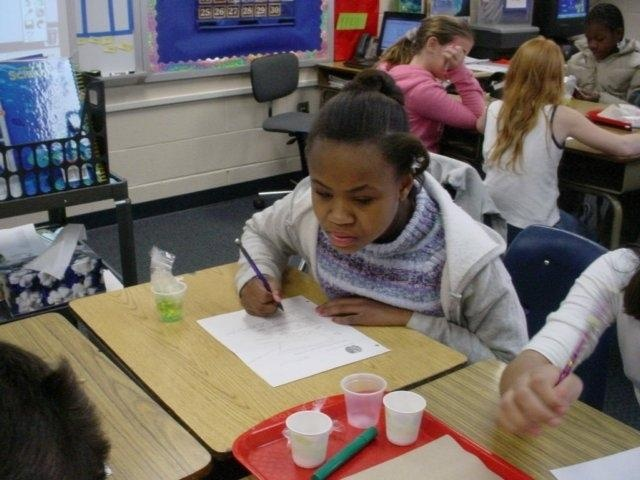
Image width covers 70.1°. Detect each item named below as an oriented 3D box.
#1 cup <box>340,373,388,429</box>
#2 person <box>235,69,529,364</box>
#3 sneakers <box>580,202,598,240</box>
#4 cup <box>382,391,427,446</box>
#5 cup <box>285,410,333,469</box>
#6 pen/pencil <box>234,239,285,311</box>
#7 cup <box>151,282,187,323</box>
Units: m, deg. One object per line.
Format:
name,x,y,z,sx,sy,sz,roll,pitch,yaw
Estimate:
cup,0.081,0.299,0.854,0.092,0.072,0.095,0,25,0
person,0.164,-0.047,1.303,0.939,0.727,0.522,17,26,24
sneakers,1.891,-0.131,3.191,0.238,0.291,0.089,-2,1,-37
cup,0.149,0.319,0.821,0.082,0.064,0.084,0,20,0
cup,-0.023,0.337,0.824,0.085,0.068,0.087,2,27,-1
pen/pencil,-0.176,0.108,1.323,0.020,0.230,0.020,-35,-14,-1
cup,-0.393,0.161,1.240,0.097,0.096,0.096,0,25,0
